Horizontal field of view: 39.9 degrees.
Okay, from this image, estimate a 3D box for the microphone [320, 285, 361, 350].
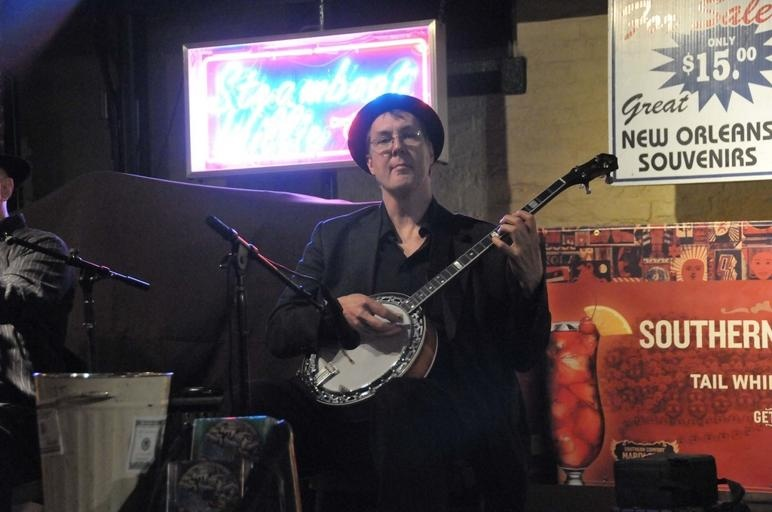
[{"bbox_3d":[-0.261,0.365,5.914,0.059,0.392,0.176,-37,12,-29],"label":"microphone"}]
